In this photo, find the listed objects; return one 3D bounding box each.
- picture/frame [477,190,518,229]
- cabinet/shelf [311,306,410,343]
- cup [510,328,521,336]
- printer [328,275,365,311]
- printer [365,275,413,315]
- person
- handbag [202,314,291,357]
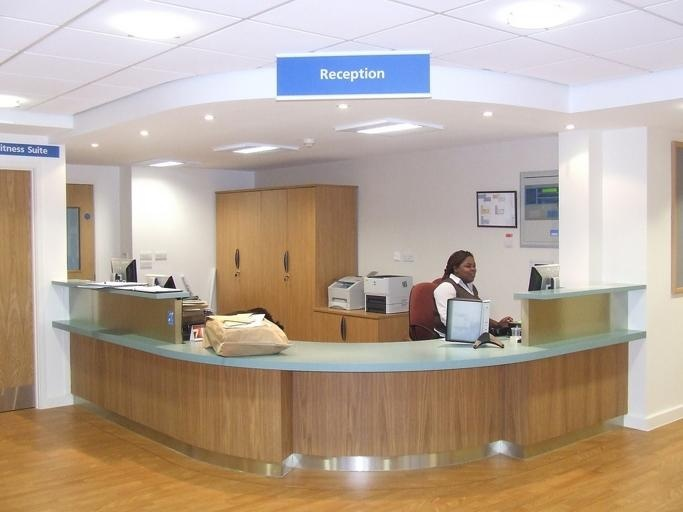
[{"bbox_3d":[1.981,-0.597,7.095,0.048,0.403,0.498,-5,8,-44],"label":"picture/frame"},{"bbox_3d":[0.209,1.010,7.870,1.458,0.538,0.460,3,5,41],"label":"cabinet/shelf"},{"bbox_3d":[1.621,0.707,5.234,0.077,0.077,0.076,0,-2,0],"label":"cup"},{"bbox_3d":[0.030,0.538,8.081,0.482,0.448,0.471,4,-5,-43],"label":"printer"},{"bbox_3d":[0.600,0.499,7.526,0.533,0.511,0.535,-1,-2,45],"label":"printer"},{"bbox_3d":[1.330,0.488,5.793,0.624,1.059,0.720,-8,-9,41],"label":"person"},{"bbox_3d":[-0.852,0.692,4.838,0.519,0.203,0.568,-1,5,-25],"label":"handbag"}]
